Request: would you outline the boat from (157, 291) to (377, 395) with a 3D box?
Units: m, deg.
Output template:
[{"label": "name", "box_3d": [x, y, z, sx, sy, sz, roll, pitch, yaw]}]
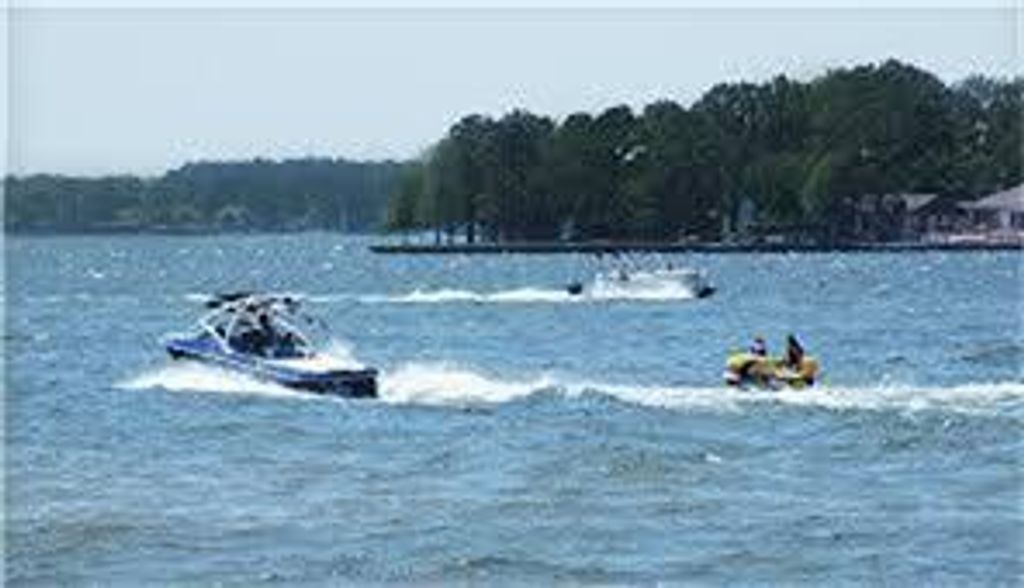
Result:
[{"label": "boat", "box_3d": [-14.770, 3.073, 113.107, 15.383, 4.936, 6.167, 7, 10, 27]}]

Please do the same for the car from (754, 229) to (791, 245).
[{"label": "car", "box_3d": [29.402, -6.512, 200.031, 3.522, 1.770, 3.584, 0, 1, -21]}]

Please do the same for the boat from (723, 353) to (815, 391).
[{"label": "boat", "box_3d": [16.180, 4.950, 111.039, 5.516, 2.181, 3.159, 1, -1, 5]}]
